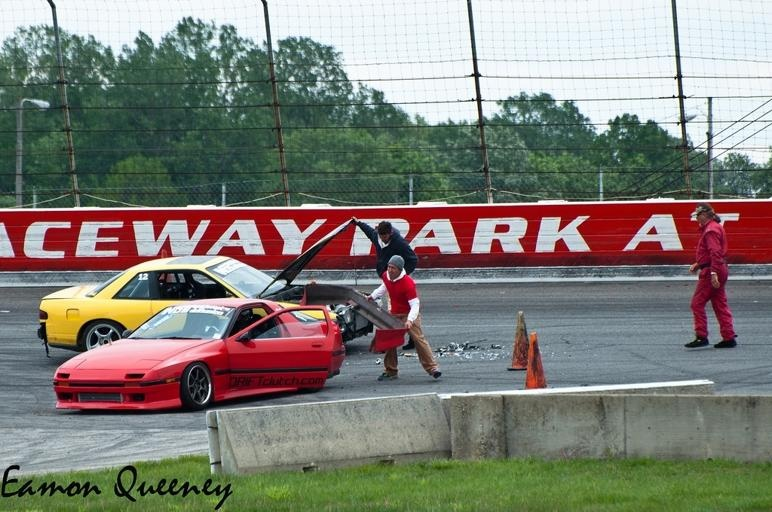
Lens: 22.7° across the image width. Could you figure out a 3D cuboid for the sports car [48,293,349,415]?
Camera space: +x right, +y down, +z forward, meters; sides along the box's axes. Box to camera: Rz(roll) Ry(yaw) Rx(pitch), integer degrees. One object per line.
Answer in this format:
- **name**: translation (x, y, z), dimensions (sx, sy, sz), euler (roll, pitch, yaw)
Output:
- **sports car**: translation (-3.924, 2.158, 41.959), dimensions (5.783, 2.336, 1.246), euler (-3, -3, -18)
